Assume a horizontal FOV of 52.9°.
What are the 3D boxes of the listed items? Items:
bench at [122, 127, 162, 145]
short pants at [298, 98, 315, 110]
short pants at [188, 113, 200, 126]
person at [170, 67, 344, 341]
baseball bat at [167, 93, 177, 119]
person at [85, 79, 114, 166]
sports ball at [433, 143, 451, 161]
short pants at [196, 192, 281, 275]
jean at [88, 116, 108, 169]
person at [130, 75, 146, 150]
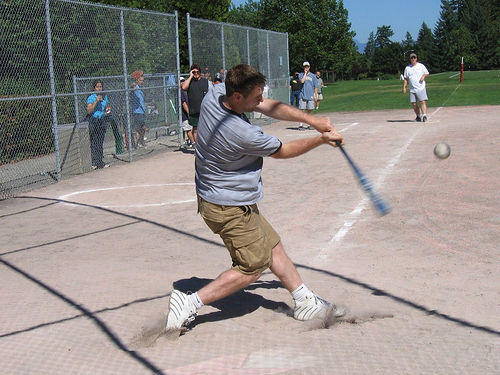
[{"bbox_3d":[-3.209,-1.563,15.249,0.295,0.475,2.651,0,14,8],"label":"bench"},{"bbox_3d":[2.001,-3.061,17.926,0.662,0.544,0.341,1,12,-1],"label":"short pants"},{"bbox_3d":[-1.464,-1.793,13.317,0.232,0.340,0.674,-8,15,-18],"label":"short pants"},{"bbox_3d":[-0.015,0.110,4.391,1.514,2.246,0.578,-5,15,-8],"label":"person"},{"bbox_3d":[-2.612,-2.807,16.833,0.071,0.617,0.109,-42,25,-14],"label":"baseball bat"},{"bbox_3d":[-3.694,-1.426,12.370,0.498,1.703,1.349,-5,15,-7],"label":"person"},{"bbox_3d":[2.994,-0.558,7.829,0.213,0.258,0.288,3,15,18],"label":"sports ball"},{"bbox_3d":[-0.041,0.314,4.729,0.701,0.863,0.763,-18,7,-8],"label":"short pants"},{"bbox_3d":[-3.702,-1.123,12.314,0.342,1.217,0.937,-5,15,-9],"label":"jean"},{"bbox_3d":[-3.139,-2.116,14.307,0.412,2.079,1.400,-6,15,-10],"label":"person"}]
